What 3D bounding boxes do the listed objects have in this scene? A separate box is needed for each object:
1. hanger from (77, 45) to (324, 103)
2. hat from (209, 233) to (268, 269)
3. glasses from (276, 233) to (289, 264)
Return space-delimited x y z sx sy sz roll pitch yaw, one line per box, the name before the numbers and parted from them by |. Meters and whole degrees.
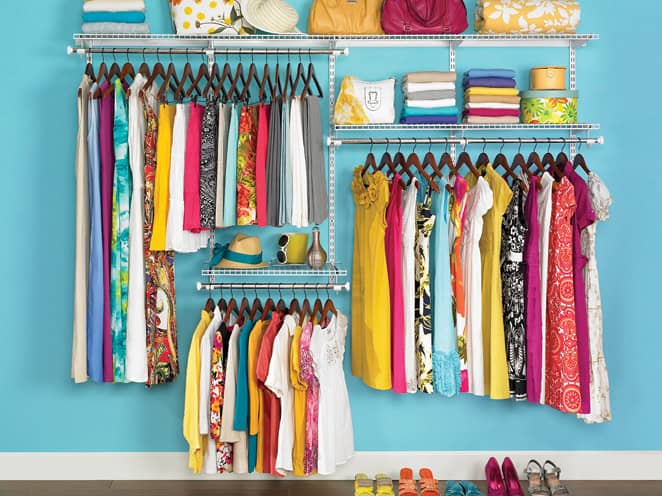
hanger | -0.789 -1.000 5.381 1.495 0.313 0.279 -1 11 -6
hat | -0.482 0.009 5.455 0.357 0.153 0.319 -4 18 -37
glasses | -0.285 0.010 5.425 0.042 0.173 0.085 -2 2 -45
